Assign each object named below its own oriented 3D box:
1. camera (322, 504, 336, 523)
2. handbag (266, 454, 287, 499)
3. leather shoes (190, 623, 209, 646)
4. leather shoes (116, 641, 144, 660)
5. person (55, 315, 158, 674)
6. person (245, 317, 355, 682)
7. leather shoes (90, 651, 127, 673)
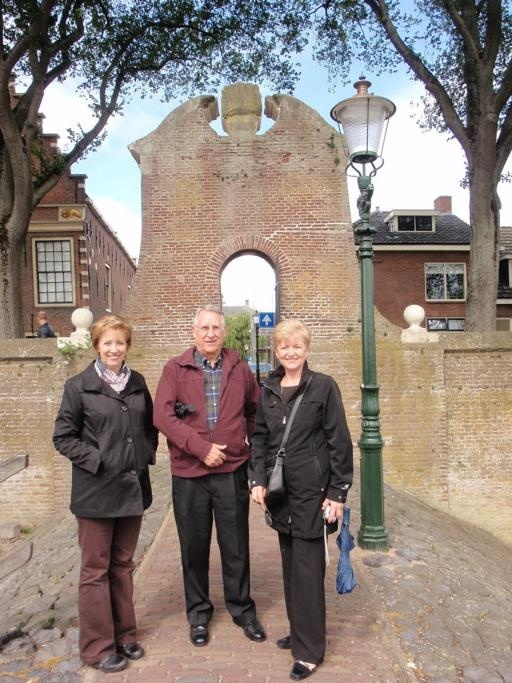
[{"bbox_3d":[0.459,1.073,4.880,0.078,0.104,0.100,-13,13,29],"label":"camera"},{"bbox_3d":[0.136,0.857,4.921,0.088,0.217,0.235,6,-17,-2],"label":"handbag"},{"bbox_3d":[-0.374,1.951,5.162,0.130,0.135,0.113,5,0,-3],"label":"leather shoes"},{"bbox_3d":[-0.820,2.014,5.051,0.187,0.073,0.075,-14,-8,43],"label":"leather shoes"},{"bbox_3d":[-0.981,0.947,5.018,0.704,2.242,0.481,5,0,-22],"label":"person"},{"bbox_3d":[0.264,0.974,4.987,0.677,2.275,0.366,5,0,9],"label":"person"},{"bbox_3d":[-0.915,2.009,4.870,0.184,0.074,0.109,-7,25,-30],"label":"leather shoes"}]
